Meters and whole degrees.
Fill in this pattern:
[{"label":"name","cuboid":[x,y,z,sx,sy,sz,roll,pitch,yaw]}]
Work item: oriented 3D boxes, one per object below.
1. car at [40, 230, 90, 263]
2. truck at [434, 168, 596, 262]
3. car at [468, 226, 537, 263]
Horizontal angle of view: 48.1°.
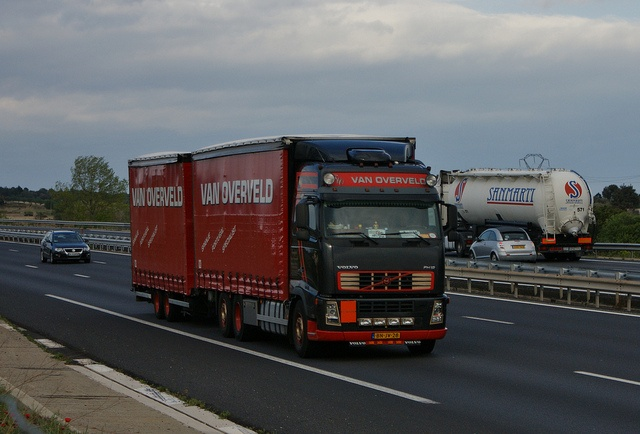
[{"label":"car","cuboid":[-15.622,1.816,44.069,2.423,1.870,3.223,0,1,-35]},{"label":"truck","cuboid":[11.119,-0.298,41.850,3.215,5.181,11.557,2,0,-17]},{"label":"car","cuboid":[8.999,1.371,35.738,1.572,1.309,2.772,0,3,-18]}]
